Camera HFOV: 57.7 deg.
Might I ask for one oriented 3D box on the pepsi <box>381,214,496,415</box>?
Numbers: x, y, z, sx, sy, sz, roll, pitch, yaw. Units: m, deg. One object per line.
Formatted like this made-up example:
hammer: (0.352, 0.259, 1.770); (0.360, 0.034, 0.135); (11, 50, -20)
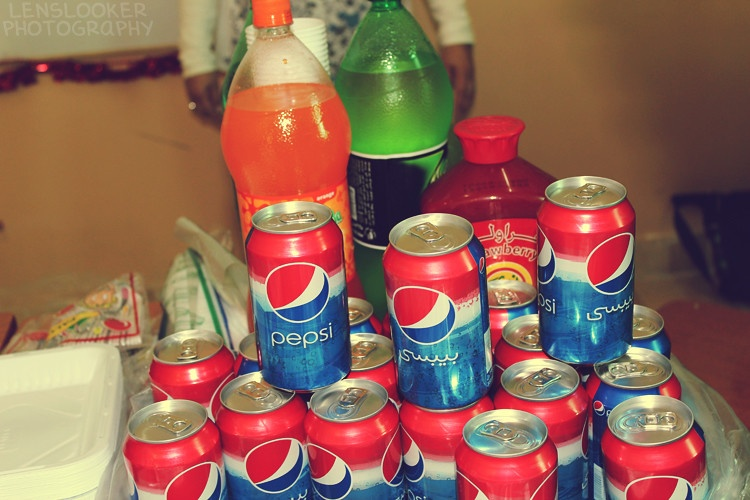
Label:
pepsi: (0.088, 0.082, 0.922); (0.131, 0.239, 0.131); (-6, 23, 6)

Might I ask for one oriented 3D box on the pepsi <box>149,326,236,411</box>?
pepsi: (-0.269, 0.180, 1.007); (0.079, 0.123, 0.074); (-21, 37, -28)

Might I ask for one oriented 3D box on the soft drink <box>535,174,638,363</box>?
soft drink: (0.292, 0.030, 0.943); (0.127, 0.243, 0.128); (0, 24, 19)
